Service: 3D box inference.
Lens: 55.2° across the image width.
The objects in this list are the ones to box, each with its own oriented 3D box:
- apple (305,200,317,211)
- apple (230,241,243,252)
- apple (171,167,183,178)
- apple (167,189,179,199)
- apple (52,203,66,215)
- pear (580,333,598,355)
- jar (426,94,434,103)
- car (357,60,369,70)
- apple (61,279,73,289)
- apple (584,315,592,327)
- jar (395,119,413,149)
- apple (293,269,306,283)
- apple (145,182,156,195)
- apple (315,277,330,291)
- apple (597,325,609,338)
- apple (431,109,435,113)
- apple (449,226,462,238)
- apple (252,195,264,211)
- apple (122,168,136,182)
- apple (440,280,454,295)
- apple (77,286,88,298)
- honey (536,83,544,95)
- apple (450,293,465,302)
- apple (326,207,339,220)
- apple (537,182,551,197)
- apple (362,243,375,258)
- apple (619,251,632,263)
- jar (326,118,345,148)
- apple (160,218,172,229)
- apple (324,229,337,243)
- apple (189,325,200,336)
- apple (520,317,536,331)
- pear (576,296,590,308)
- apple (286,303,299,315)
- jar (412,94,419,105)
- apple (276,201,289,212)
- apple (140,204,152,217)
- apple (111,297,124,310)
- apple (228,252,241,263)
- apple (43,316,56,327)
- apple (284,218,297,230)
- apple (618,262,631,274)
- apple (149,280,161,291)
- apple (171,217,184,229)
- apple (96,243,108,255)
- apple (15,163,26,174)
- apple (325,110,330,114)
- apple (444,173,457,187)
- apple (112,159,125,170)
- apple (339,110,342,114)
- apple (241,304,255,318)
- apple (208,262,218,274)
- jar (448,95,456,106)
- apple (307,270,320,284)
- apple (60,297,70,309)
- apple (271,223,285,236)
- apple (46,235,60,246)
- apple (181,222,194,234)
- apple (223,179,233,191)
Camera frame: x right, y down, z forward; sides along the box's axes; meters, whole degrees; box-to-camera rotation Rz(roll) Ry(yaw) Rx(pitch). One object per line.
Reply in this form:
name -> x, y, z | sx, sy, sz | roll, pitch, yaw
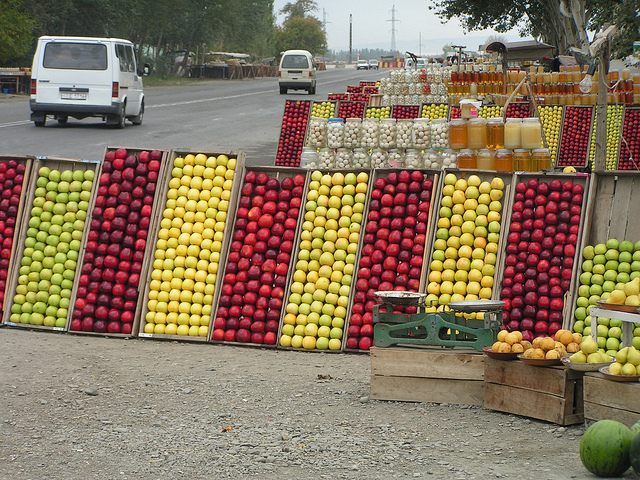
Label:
apple -> -0.114, -0.454, 8.351 | 0.126, 0.144, 0.130 | 36, 24, 31
apple -> -1.130, 0.105, 8.289 | 0.133, 0.129, 0.124 | -3, -34, 1
apple -> -1.995, -0.916, 8.604 | 0.138, 0.132, 0.074 | -7, 0, 1
apple -> -2.050, -0.620, 8.541 | 0.126, 0.125, 0.149 | 8, 12, 8
apple -> -3.679, -0.414, 8.649 | 0.172, 0.158, 0.156 | 4, -4, -26
pear -> 2.430, 0.949, 5.552 | 0.145, 0.187, 0.138 | 1, -2, -5
jar -> 4.038, -5.061, 22.429 | 0.311, 0.309, 0.306 | 0, 2, 0
car -> 7.073, -27.948, 99.694 | 1.826, 2.032, 4.385 | 1, 6, 3
apple -> -3.516, 0.626, 8.520 | 0.132, 0.116, 0.127 | -1, 38, -8
apple -> 3.073, 0.934, 7.024 | 0.038, 0.116, 0.071 | 0, 6, -14
jar -> 1.472, -1.802, 10.642 | 0.333, 0.509, 0.219 | 3, 6, 17
apple -> -0.266, 0.494, 8.132 | 0.153, 0.169, 0.147 | 1, 4, -21
apple -> -2.368, -0.693, 8.557 | 0.164, 0.165, 0.062 | 3, 6, 22
apple -> 0.040, 0.588, 8.046 | 0.162, 0.157, 0.160 | 3, 10, 37
apple -> 3.109, 1.003, 6.728 | 0.134, 0.128, 0.133 | -3, 5, 31
apple -> 3.682, -4.116, 19.947 | 0.128, 0.112, 0.094 | 0, 6, -10
apple -> 1.724, -0.092, 7.766 | 0.130, 0.126, 0.101 | -41, -9, 8
apple -> -0.847, -0.484, 8.442 | 0.155, 0.185, 0.091 | 0, 5, -10
apple -> -2.657, -0.878, 8.539 | 0.176, 0.189, 0.073 | -1, 6, -21
apple -> 1.579, 0.603, 7.595 | 0.163, 0.148, 0.125 | 7, -3, 22
apple -> -3.263, 0.723, 8.438 | 0.148, 0.138, 0.137 | -4, 16, -24
honey -> 7.695, -5.185, 21.362 | 0.245, 0.381, 0.156 | 1, 5, 3
apple -> 1.679, 0.734, 7.469 | 0.118, 0.130, 0.110 | -9, 4, -9
apple -> 0.179, -0.333, 8.233 | 0.140, 0.135, 0.159 | -16, -20, -29
apple -> 2.792, -0.599, 7.616 | 0.157, 0.168, 0.080 | 3, 6, 16
apple -> 0.632, 0.152, 8.054 | 0.164, 0.160, 0.149 | -7, -41, 21
apple -> 3.497, 0.206, 6.997 | 0.118, 0.107, 0.114 | 1, 4, 14
jar -> 0.315, -2.012, 11.782 | 0.313, 0.564, 0.619 | 1, 6, 1
apple -> -2.134, -0.208, 8.487 | 0.167, 0.144, 0.062 | 1, 5, 3
apple -> 0.144, -0.048, 8.124 | 0.159, 0.175, 0.150 | 1, -2, -36
apple -> -1.683, 1.219, 8.261 | 0.125, 0.139, 0.123 | 3, 29, 2
apple -> 2.516, 1.023, 7.372 | 0.149, 0.135, 0.140 | -1, -25, 12
pear -> 3.073, 0.736, 7.149 | 0.115, 0.109, 0.110 | -6, -14, -16
apple -> -0.356, 0.909, 8.008 | 0.147, 0.136, 0.139 | -2, -22, 5
jar -> 3.524, -5.084, 22.706 | 0.390, 0.398, 0.384 | 0, 5, 0
apple -> -0.500, -0.438, 8.444 | 0.137, 0.141, 0.126 | 20, 11, 3
apple -> -2.402, -0.381, 8.474 | 0.149, 0.172, 0.146 | 12, 0, -2
apple -> -2.751, 0.869, 8.410 | 0.161, 0.155, 0.146 | -31, -11, -6
apple -> -1.165, 0.240, 8.326 | 0.169, 0.135, 0.136 | -23, 55, -34
apple -> -3.735, 1.134, 8.465 | 0.147, 0.139, 0.132 | 0, -16, -14
apple -> -0.395, -0.198, 8.316 | 0.170, 0.149, 0.070 | 1, 5, -3
apple -> 3.473, 0.328, 6.940 | 0.119, 0.091, 0.113 | 0, 7, 20
apple -> -2.235, 0.623, 8.369 | 0.135, 0.153, 0.138 | 9, 9, 27
apple -> -1.950, -0.216, 8.477 | 0.159, 0.126, 0.139 | -27, 36, 8
apple -> -2.994, 0.148, 8.500 | 0.134, 0.135, 0.142 | -22, 12, -41
apple -> -4.339, -1.019, 8.936 | 0.140, 0.120, 0.128 | 2, 36, -6
apple -> 0.230, -3.837, 18.728 | 0.154, 0.124, 0.072 | -1, 6, -15
apple -> 1.699, -0.756, 7.940 | 0.159, 0.151, 0.062 | 2, 5, 8
apple -> -2.804, -1.025, 8.542 | 0.139, 0.134, 0.136 | 3, 18, -2
apple -> 0.633, -3.847, 18.769 | 0.074, 0.072, 0.072 | 0, -34, 10
apple -> -0.943, 0.945, 8.187 | 0.158, 0.148, 0.142 | -12, -44, 16
apple -> -1.450, 0.387, 8.309 | 0.135, 0.147, 0.131 | -1, 38, -16
jar -> 4.603, -4.782, 21.265 | 0.218, 0.345, 0.515 | 1, 6, 4
apple -> -0.084, 0.483, 8.149 | 0.135, 0.157, 0.138 | 21, 34, 35
apple -> -3.527, 0.877, 8.491 | 0.141, 0.132, 0.132 | 0, 27, -10
apple -> -0.566, -0.117, 8.292 | 0.174, 0.161, 0.157 | -17, 40, -20
apple -> -3.748, 0.022, 8.597 | 0.153, 0.138, 0.143 | 10, -13, -3
apple -> -1.816, -0.148, 8.422 | 0.160, 0.146, 0.152 | 0, 0, 2
apple -> -1.268, -0.729, 8.482 | 0.133, 0.153, 0.130 | 10, -3, 4
